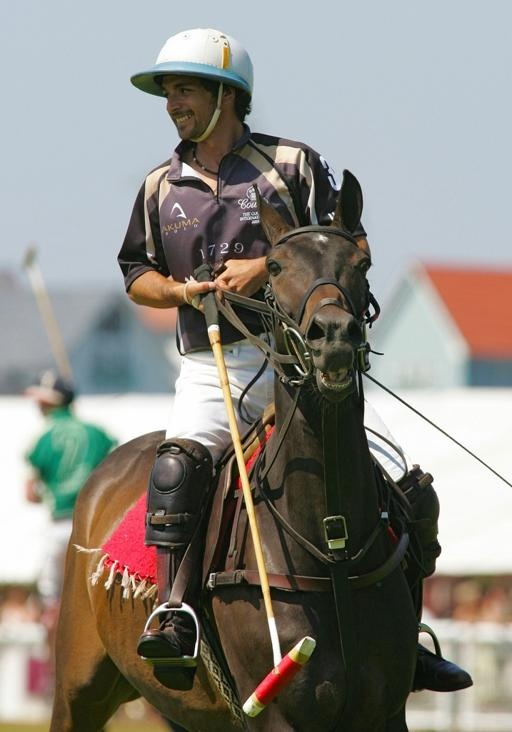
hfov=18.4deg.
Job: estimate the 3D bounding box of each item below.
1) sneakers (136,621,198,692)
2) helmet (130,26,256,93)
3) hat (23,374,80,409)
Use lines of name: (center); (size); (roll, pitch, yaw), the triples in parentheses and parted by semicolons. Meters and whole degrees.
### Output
sneakers: (-0.343, 1.219, 6.734); (0.157, 0.418, 0.291); (-2, 52, 9)
helmet: (-0.283, -1.433, 7.341); (0.540, 0.250, 0.423); (-1, 5, -36)
hat: (-1.477, 0.159, 11.303); (0.307, 0.154, 0.202); (28, -2, -16)
